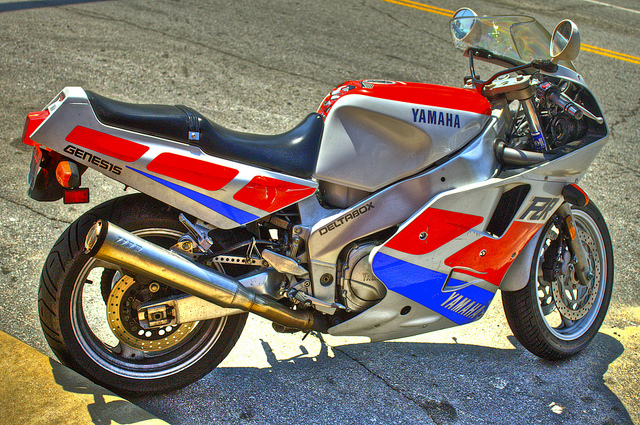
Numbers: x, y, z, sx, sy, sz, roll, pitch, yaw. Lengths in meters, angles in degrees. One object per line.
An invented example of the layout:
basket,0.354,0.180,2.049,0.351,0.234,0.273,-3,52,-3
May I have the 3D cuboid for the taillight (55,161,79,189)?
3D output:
taillight,-1.822,-0.271,4.557,0.148,0.129,0.176,-13,55,-21
